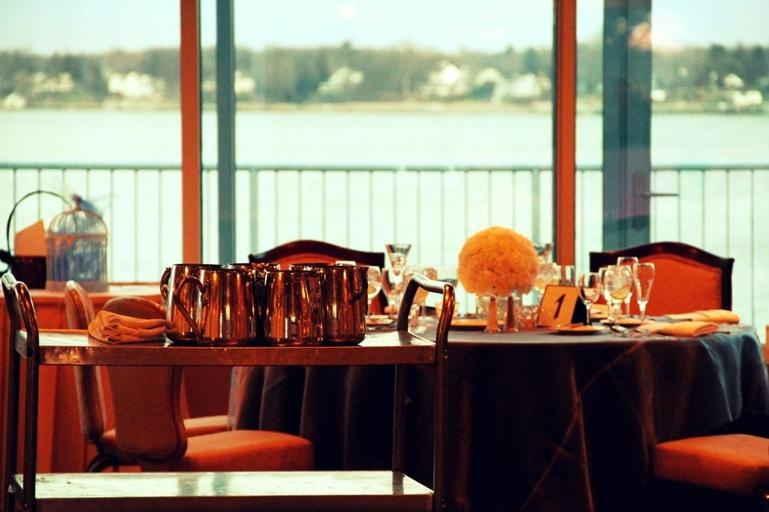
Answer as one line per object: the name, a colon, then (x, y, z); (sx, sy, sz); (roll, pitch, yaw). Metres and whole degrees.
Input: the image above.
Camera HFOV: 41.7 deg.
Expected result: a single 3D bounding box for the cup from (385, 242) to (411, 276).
cup: (0.044, 0.020, 4.840); (0.136, 0.147, 0.136); (-1, 2, 0)
